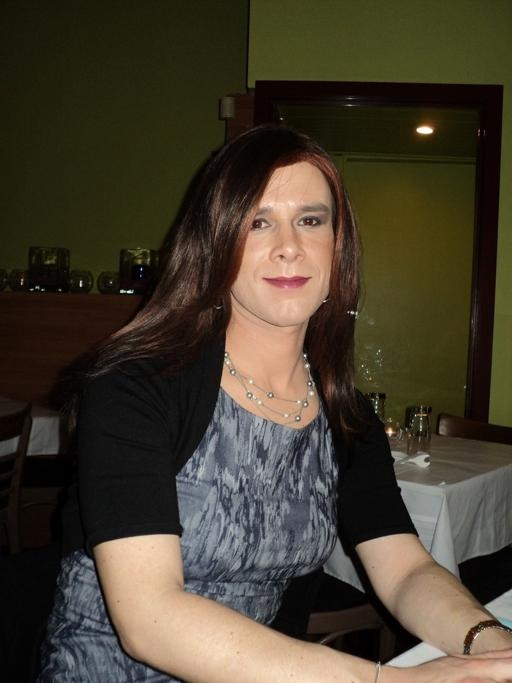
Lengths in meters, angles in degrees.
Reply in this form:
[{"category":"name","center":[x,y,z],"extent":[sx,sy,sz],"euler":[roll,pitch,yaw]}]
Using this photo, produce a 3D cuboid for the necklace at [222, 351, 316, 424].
[{"category":"necklace","center":[0.030,0.105,0.978],"extent":[0.125,0.149,0.026],"euler":[-2,-35,-37]}]
